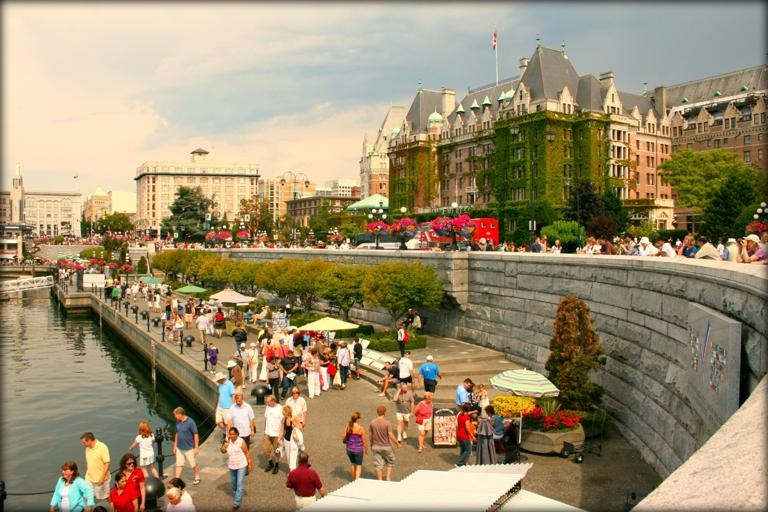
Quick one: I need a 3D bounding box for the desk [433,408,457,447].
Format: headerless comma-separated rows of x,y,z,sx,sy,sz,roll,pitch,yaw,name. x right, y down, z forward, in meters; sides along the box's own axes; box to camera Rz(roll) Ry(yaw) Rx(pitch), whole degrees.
3.018,8.711,45.214,1.783,2.355,1.267,0,-11,-2,desk

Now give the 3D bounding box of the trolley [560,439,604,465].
9.825,9.596,44.519,1.942,1.005,0.957,-4,3,-31,trolley

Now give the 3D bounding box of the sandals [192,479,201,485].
-9.041,10.825,43.083,0.362,0.234,0.289,-3,3,-17,sandals

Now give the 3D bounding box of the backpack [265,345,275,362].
-6.462,5.470,50.628,0.522,0.733,0.315,-7,-15,41,backpack

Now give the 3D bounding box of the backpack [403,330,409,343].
1.382,5.046,56.018,0.465,0.877,0.624,0,2,2,backpack

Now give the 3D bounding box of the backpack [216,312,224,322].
-11.606,4.280,63.323,0.606,0.604,0.453,1,9,-13,backpack

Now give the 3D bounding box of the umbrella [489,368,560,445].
7.006,7.488,45.533,3.360,3.444,3.345,2,-2,-27,umbrella
